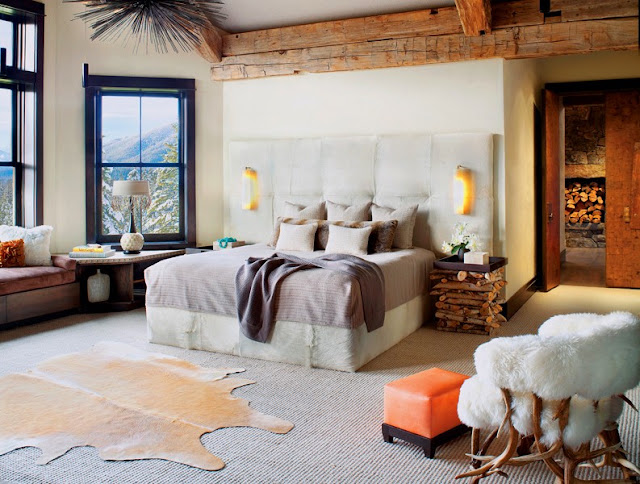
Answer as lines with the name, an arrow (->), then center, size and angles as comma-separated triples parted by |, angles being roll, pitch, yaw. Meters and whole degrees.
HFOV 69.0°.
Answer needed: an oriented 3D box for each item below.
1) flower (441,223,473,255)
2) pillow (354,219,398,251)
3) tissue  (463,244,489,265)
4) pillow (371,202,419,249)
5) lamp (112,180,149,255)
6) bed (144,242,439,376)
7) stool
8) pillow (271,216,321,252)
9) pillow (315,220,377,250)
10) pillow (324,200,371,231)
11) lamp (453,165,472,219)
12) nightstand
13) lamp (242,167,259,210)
flower -> 1.627, -0.050, 5.367 | 0.398, 0.349, 0.374 | -4, 7, -40
pillow -> 0.680, -0.073, 5.286 | 0.409, 0.346, 0.122 | 0, -16, 12
tissue  -> 1.690, 0.121, 5.080 | 0.269, 0.198, 0.331 | 2, 7, 16
pillow -> 0.878, -0.174, 5.500 | 0.222, 0.480, 0.554 | 16, -6, -43
lamp -> -2.649, -0.367, 6.553 | 0.498, 0.999, 0.736 | -3, 8, -23
bed -> -0.500, 0.672, 4.446 | 1.567, 0.517, 1.549 | 3, 6, 31
stool -> 0.663, 0.982, 2.928 | 0.408, 0.365, 0.593 | 3, 6, 41
pillow -> -0.284, -0.086, 5.548 | 0.617, 0.351, 0.179 | -1, -18, 32
pillow -> 0.157, -0.121, 5.573 | 0.596, 0.348, 0.163 | -1, -25, 22
pillow -> 0.337, -0.314, 5.700 | 0.434, 0.282, 0.149 | 1, -7, 27
lamp -> 1.672, -0.600, 5.463 | 0.225, 0.587, 0.132 | -5, 9, -35
nightstand -> 1.687, 0.546, 5.388 | 0.903, 0.789, 0.877 | 0, 2, 20
lamp -> -1.001, -0.750, 6.622 | 0.193, 0.614, 0.129 | 3, 8, 25
